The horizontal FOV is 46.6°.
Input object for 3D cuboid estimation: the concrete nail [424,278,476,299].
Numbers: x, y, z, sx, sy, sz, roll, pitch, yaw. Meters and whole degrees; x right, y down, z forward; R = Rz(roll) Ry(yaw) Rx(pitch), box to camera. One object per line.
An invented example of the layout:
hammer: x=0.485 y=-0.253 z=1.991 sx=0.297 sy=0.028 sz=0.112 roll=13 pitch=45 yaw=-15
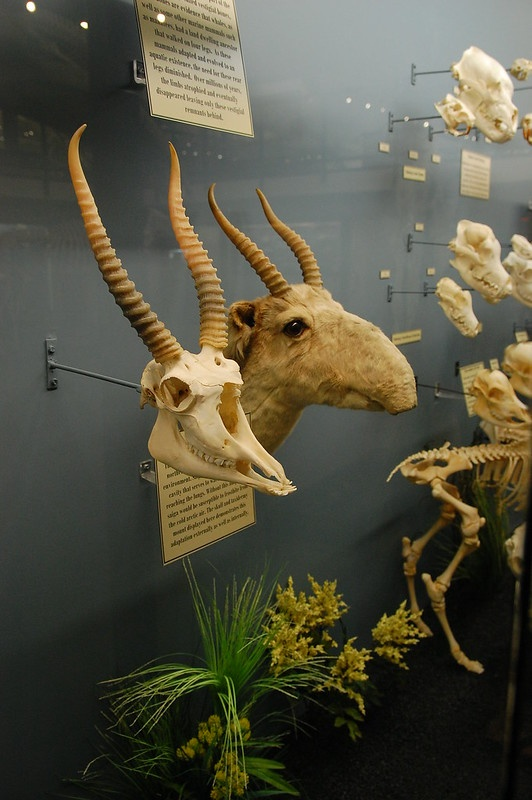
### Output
concrete nail: x=0.771 y=-0.494 z=2.708 sx=0.116 sy=0.073 sz=0.115 roll=27 pitch=42 yaw=29

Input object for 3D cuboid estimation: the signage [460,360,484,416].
signage: x=1.012 y=-0.042 z=3.107 sx=0.011 sy=0.286 sz=0.253 roll=-3 pitch=-8 yaw=29

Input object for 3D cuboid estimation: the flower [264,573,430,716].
flower: x=0.288 y=0.903 z=2.248 sx=0.456 sy=0.566 sz=0.448 roll=-12 pitch=15 yaw=-43

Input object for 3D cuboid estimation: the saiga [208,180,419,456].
saiga: x=0.095 y=-0.222 z=1.641 sx=0.471 sy=0.696 sz=0.707 roll=-8 pitch=19 yaw=-31

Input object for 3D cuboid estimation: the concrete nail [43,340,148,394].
concrete nail: x=-0.432 y=-0.077 z=1.548 sx=0.245 sy=0.178 sz=0.081 roll=-10 pitch=20 yaw=-31

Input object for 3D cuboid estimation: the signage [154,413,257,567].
signage: x=-0.161 y=0.281 z=1.850 sx=0.038 sy=0.349 sz=0.449 roll=12 pitch=21 yaw=33
